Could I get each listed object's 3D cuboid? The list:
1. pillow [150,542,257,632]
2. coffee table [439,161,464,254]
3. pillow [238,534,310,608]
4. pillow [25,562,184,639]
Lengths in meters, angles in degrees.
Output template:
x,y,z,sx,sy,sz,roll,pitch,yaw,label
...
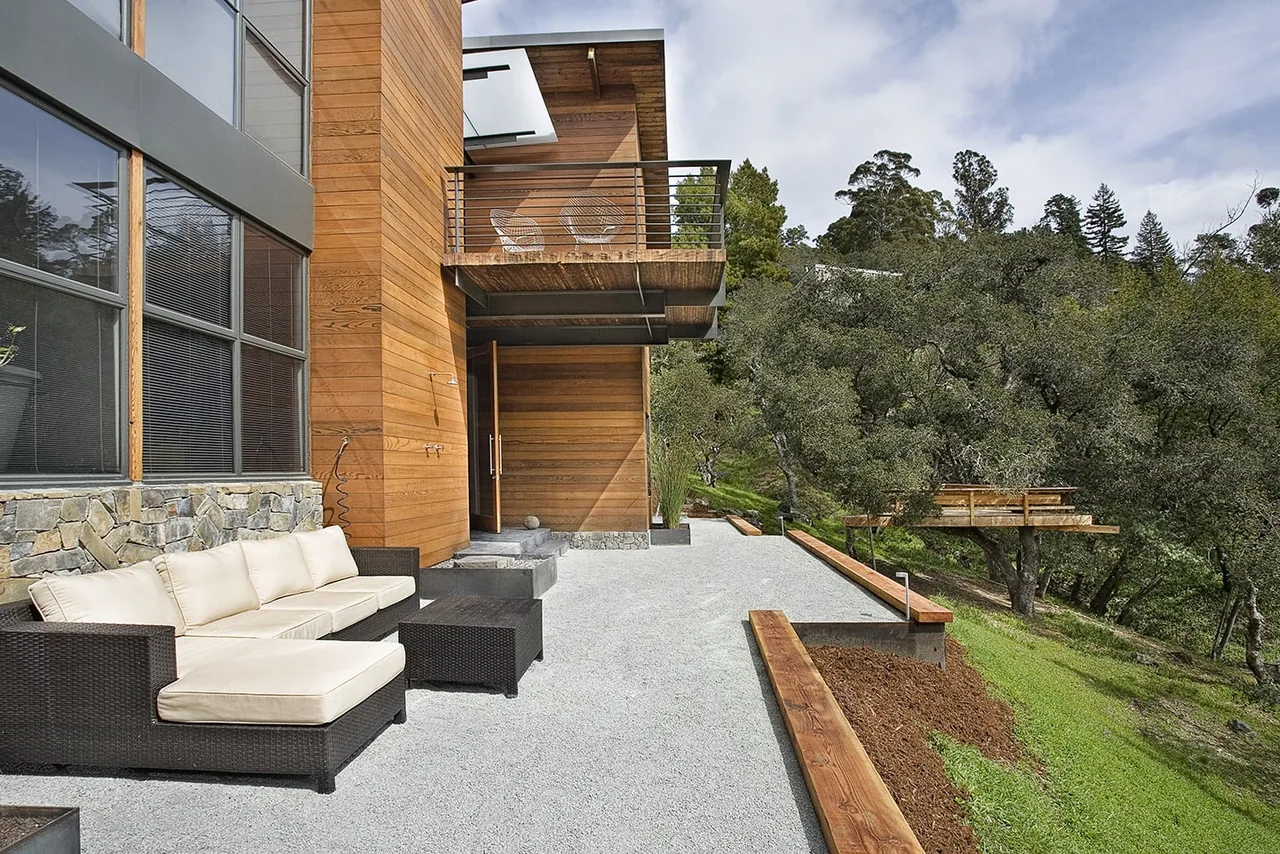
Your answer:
x,y,z,sx,sy,sz,roll,pitch,yaw,label
-3.340,1.229,6.026,0.192,0.400,0.556,-10,1,20,pillow
-2.296,-2.567,9.677,0.233,1.099,0.270,-10,31,-40,coffee table
-3.066,1.217,6.618,0.187,0.355,0.499,-12,-6,18,pillow
-3.632,1.158,5.403,0.605,0.192,0.618,22,-1,-14,pillow
